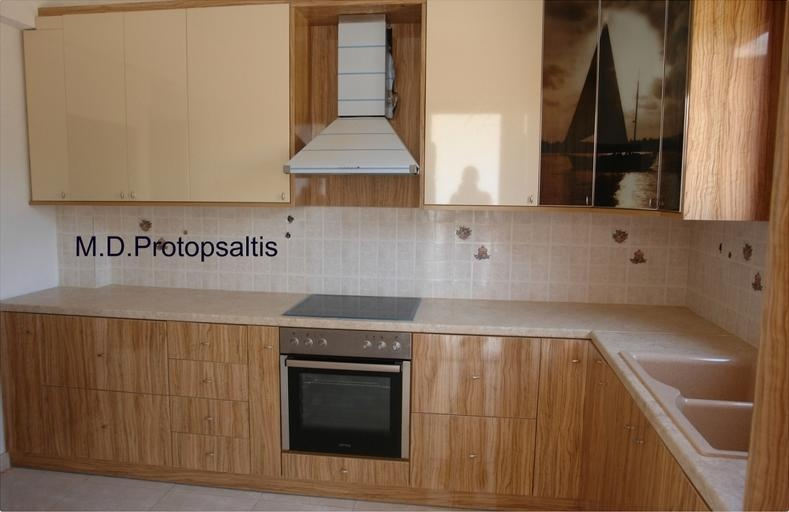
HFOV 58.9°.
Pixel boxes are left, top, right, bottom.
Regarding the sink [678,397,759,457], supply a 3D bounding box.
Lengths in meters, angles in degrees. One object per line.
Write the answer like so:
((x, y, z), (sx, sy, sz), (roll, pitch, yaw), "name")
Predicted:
((1.618, 0.835, 3.492), (0.254, 0.108, 0.380), (2, 4, 23), "sink")

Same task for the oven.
((-0.241, 0.985, 4.570), (0.852, 0.652, 0.566), (-1, -4, 14), "oven")

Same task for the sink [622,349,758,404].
((1.704, 0.662, 3.853), (0.344, 0.181, 0.468), (0, 2, 17), "sink")
